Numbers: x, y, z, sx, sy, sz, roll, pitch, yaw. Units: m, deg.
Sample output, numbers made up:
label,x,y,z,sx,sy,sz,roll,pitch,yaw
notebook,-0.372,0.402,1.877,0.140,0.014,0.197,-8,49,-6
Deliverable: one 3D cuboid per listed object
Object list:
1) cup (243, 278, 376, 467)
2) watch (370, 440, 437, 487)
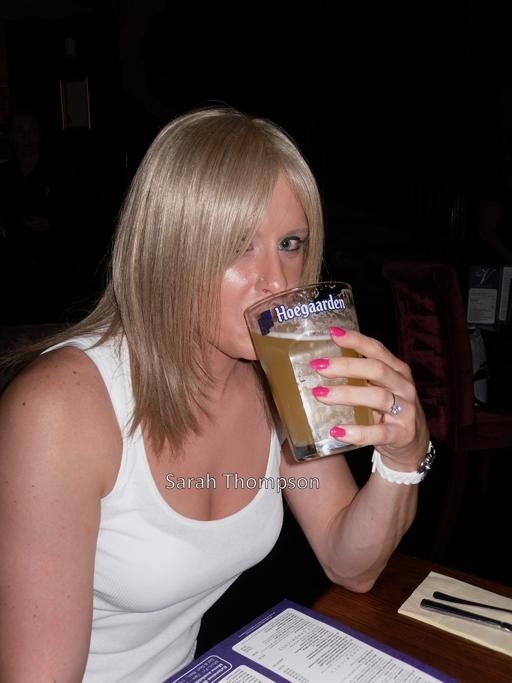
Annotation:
label,x,y,z,sx,sy,sz,roll,pitch,yaw
cup,0.078,0.041,0.775,0.188,0.247,0.117,0,8,-1
watch,0.276,0.230,1.031,0.095,0.030,0.094,-7,6,23
